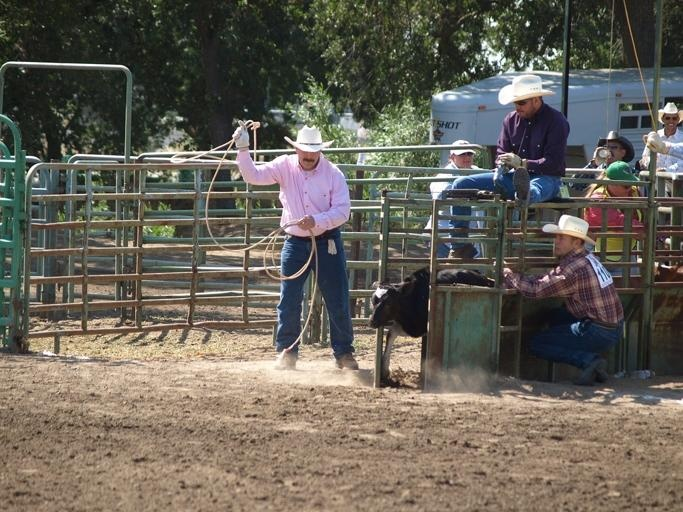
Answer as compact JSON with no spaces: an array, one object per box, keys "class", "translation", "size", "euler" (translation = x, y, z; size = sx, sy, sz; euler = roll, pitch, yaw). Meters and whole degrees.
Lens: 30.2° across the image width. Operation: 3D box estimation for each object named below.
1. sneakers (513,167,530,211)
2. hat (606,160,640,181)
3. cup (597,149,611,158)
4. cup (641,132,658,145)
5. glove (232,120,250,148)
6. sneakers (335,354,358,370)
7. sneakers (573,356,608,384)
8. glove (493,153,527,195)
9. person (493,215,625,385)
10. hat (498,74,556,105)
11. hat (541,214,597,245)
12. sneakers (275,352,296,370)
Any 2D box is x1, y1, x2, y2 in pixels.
[{"class":"sneakers","translation":[2.200,-0.835,15.465],"size":[0.171,0.495,0.198],"euler":[0,7,15]},{"class":"hat","translation":[3.772,-1.155,17.013],"size":[0.351,0.156,0.268],"euler":[5,23,-4]},{"class":"cup","translation":[3.794,-1.490,18.247],"size":[0.177,0.135,0.390],"euler":[0,-1,14]},{"class":"cup","translation":[4.050,-1.542,16.535],"size":[0.121,0.154,0.163],"euler":[-4,8,10]},{"class":"glove","translation":[-1.243,-1.497,15.771],"size":[0.281,0.441,0.216],"euler":[-1,6,-1]},{"class":"sneakers","translation":[0.082,1.339,16.088],"size":[0.136,0.142,0.298],"euler":[2,-8,-29]},{"class":"sneakers","translation":[3.190,1.480,16.059],"size":[0.255,0.234,0.618],"euler":[-1,29,21]},{"class":"glove","translation":[2.111,-1.044,15.654],"size":[0.304,0.611,0.224],"euler":[-14,-7,26]},{"class":"person","translation":[2.903,0.552,16.008],"size":[1.256,2.114,0.646],"euler":[0,-1,13]},{"class":"hat","translation":[2.403,-2.154,16.190],"size":[0.563,0.264,0.491],"euler":[-15,10,-7]},{"class":"hat","translation":[2.852,-0.361,15.822],"size":[0.451,0.201,0.396],"euler":[16,3,-8]},{"class":"sneakers","translation":[-0.705,1.309,16.084],"size":[0.194,0.172,0.217],"euler":[2,0,19]}]
